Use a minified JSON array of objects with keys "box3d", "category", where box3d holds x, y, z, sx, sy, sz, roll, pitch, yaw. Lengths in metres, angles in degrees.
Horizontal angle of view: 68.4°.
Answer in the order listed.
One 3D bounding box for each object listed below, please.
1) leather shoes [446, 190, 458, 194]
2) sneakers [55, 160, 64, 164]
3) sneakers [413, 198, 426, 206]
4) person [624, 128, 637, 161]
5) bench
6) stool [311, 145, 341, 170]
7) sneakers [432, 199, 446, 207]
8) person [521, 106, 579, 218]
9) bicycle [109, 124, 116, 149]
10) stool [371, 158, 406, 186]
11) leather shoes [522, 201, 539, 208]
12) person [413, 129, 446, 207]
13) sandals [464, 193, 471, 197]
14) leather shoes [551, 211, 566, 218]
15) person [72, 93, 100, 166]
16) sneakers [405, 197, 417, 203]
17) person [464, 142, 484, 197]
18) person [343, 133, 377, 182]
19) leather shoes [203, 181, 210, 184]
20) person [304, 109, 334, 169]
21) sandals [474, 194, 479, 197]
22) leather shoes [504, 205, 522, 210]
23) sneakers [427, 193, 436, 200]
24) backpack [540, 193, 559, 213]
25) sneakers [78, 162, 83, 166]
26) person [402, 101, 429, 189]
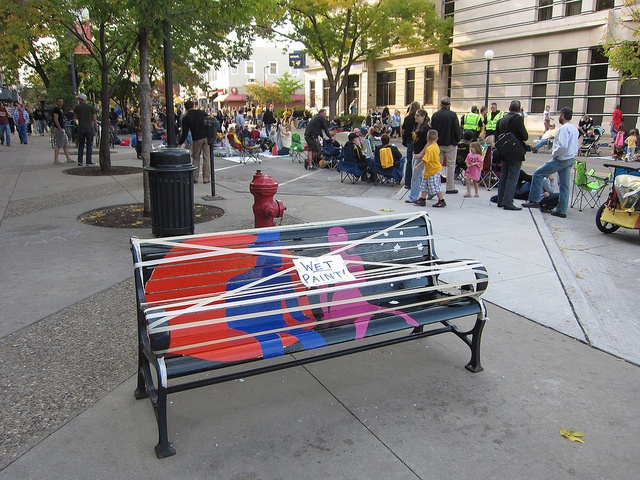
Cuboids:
[{"box3d":[3.392,-1.240,12.070,0.278,0.122,0.104,-2,51,1],"category":"leather shoes"},{"box3d":[-9.400,-2.783,16.720,0.298,0.123,0.094,-2,7,23],"category":"sneakers"},{"box3d":[2.243,-0.858,10.548,0.114,0.150,0.297,-11,15,-41],"category":"sneakers"},{"box3d":[13.408,-4.095,20.215,0.389,1.291,0.938,10,16,32],"category":"person"},{"box3d":[-0.026,0.639,4.095,2.986,1.308,0.981,-6,16,-27],"category":"bench"},{"box3d":[0.235,-2.960,16.411,0.763,0.879,0.699,-2,39,-5],"category":"stool"},{"box3d":[2.648,-0.809,10.405,0.273,0.137,0.138,-2,4,-34],"category":"sneakers"},{"box3d":[4.992,-1.521,9.960,0.645,1.961,0.881,3,14,6],"category":"person"},{"box3d":[-11.149,-5.541,25.098,0.181,1.010,1.948,-4,14,-21],"category":"bicycle"},{"box3d":[1.909,-1.914,13.386,0.827,1.022,0.808,7,12,37],"category":"stool"},{"box3d":[4.718,-0.800,10.542,0.375,0.168,0.130,6,19,25],"category":"leather shoes"},{"box3d":[2.425,-1.634,10.547,0.845,1.939,0.741,2,54,13],"category":"person"},{"box3d":[3.704,-1.128,11.810,0.217,0.097,0.077,-18,19,-29],"category":"sandals"},{"box3d":[5.034,-0.541,9.874,0.108,0.120,0.271,-11,10,-19],"category":"leather shoes"},{"box3d":[-7.854,-3.690,15.665,0.670,2.327,0.664,2,11,-22],"category":"person"},{"box3d":[2.077,-0.915,10.769,0.290,0.129,0.099,-6,16,-25],"category":"sneakers"},{"box3d":[3.900,-1.799,11.917,0.394,1.337,0.942,5,14,16],"category":"person"},{"box3d":[1.191,-2.487,13.905,0.896,1.364,1.345,3,14,6],"category":"person"},{"box3d":[-3.243,-1.642,13.294,0.060,0.066,0.149,-10,9,-35],"category":"leather shoes"},{"box3d":[-0.110,-3.458,16.145,0.788,2.054,1.108,-1,14,-11],"category":"person"},{"box3d":[3.946,-1.127,11.846,0.082,0.098,0.242,0,5,24],"category":"sandals"},{"box3d":[4.246,-0.720,10.409,0.392,0.187,0.142,-1,10,2],"category":"leather shoes"},{"box3d":[2.499,-0.977,10.584,0.183,0.193,0.119,8,23,34],"category":"sneakers"},{"box3d":[5.052,-0.803,10.407,0.464,0.388,0.400,17,-2,32],"category":"backpack"},{"box3d":[-8.343,-2.649,16.305,0.108,0.124,0.176,-9,5,-38],"category":"sneakers"},{"box3d":[2.335,-2.484,12.505,0.627,2.266,0.587,3,1,-23],"category":"person"}]
